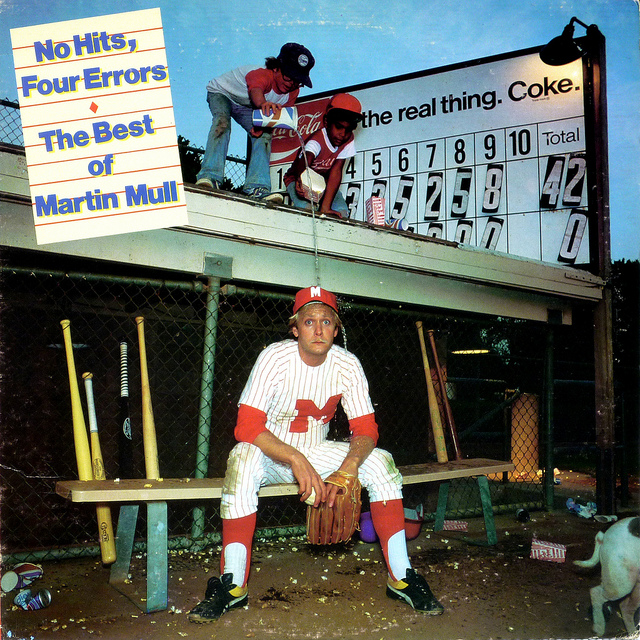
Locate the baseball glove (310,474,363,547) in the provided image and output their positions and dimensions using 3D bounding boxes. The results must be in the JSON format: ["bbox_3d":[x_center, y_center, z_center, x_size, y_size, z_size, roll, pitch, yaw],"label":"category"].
[{"bbox_3d":[0.079,0.946,3.945,0.227,0.359,0.114,3,9,-14],"label":"baseball glove"}]

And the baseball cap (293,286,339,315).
[{"bbox_3d":[-0.033,-0.090,4.232,0.189,0.153,0.322,1,-5,-2],"label":"baseball cap"}]

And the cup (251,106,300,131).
[{"bbox_3d":[-0.321,-1.430,5.578,0.319,0.186,0.256,-1,4,-6],"label":"cup"}]

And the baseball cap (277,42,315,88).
[{"bbox_3d":[-0.188,-1.876,5.851,0.266,0.280,0.301,-1,4,-2],"label":"baseball cap"}]

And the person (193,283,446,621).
[{"bbox_3d":[-0.045,0.598,4.154,1.070,1.601,1.384,1,-1,-7],"label":"person"}]

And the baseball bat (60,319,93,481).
[{"bbox_3d":[-1.594,0.549,5.084,0.119,1.128,0.142,-21,-13,35],"label":"baseball bat"}]

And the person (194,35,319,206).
[{"bbox_3d":[-0.534,-1.492,5.796,0.765,1.211,0.765,20,14,22],"label":"person"}]
